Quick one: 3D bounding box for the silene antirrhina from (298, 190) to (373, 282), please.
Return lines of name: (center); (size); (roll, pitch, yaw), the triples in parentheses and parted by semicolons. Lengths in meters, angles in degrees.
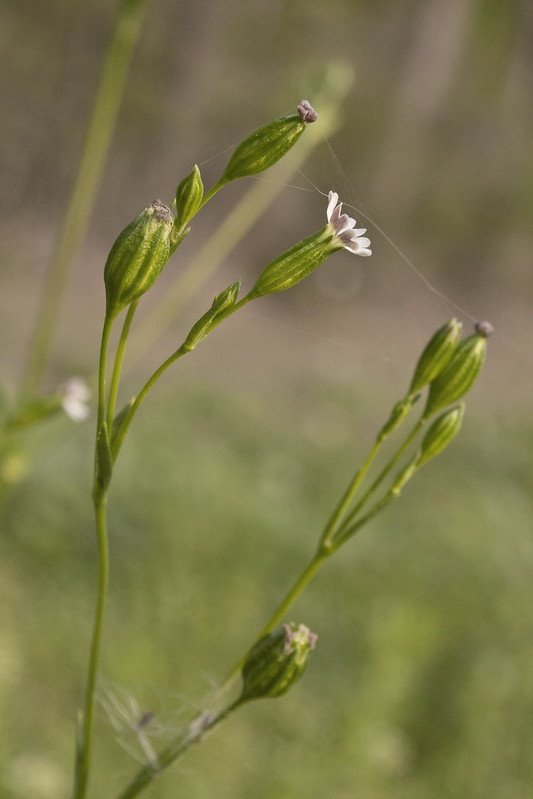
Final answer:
silene antirrhina: (0.035, -0.093, 0.414); (0.028, 0.053, 0.031); (-31, -43, 31)
